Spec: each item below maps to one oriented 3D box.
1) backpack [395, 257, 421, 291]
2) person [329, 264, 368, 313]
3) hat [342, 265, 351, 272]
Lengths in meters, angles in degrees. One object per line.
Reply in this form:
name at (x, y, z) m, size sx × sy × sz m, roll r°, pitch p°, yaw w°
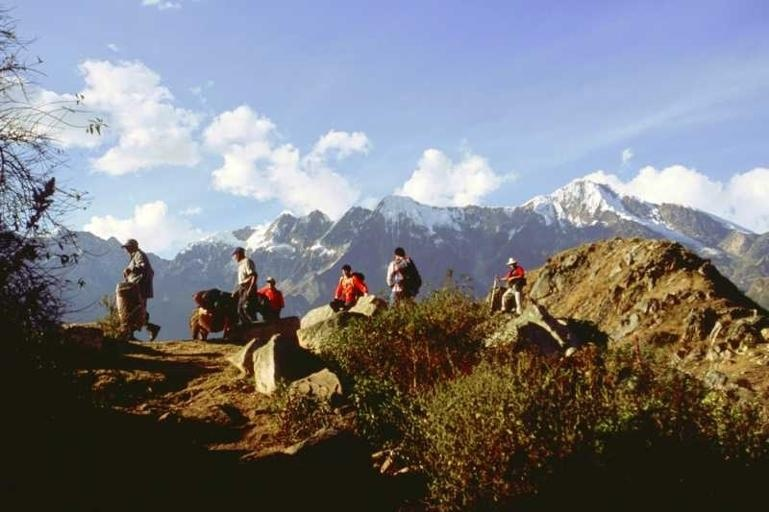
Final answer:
backpack at (0.840, 0.584, 20.392) m, size 0.400 × 0.960 × 0.718 m, roll -19°, pitch 0°, yaw 45°
person at (-1.100, 1.067, 21.676) m, size 1.148 × 1.523 × 1.063 m, roll -5°, pitch -3°, yaw 3°
hat at (-1.194, 0.364, 22.001) m, size 0.258 × 0.234 × 0.221 m, roll -8°, pitch 10°, yaw -18°
